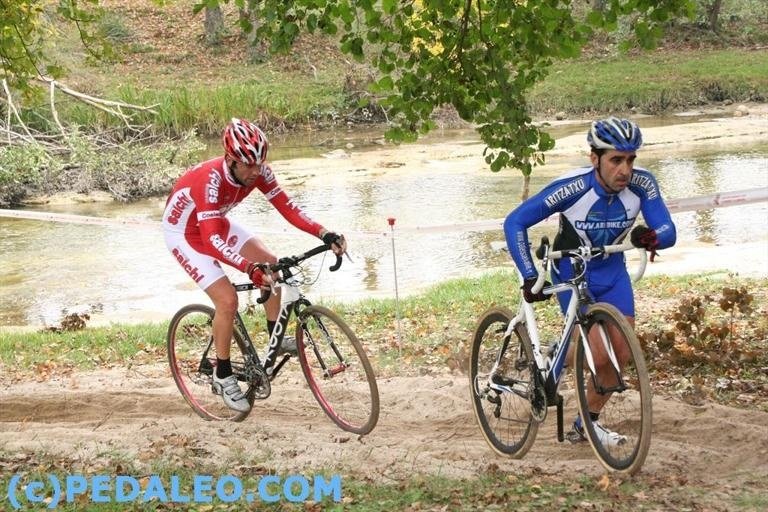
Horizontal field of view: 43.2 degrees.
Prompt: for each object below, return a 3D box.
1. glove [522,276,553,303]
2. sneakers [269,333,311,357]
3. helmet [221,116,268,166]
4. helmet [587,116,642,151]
[{"bbox_3d":[1.836,0.417,11.939,0.281,0.160,0.360,12,-39,-31],"label":"glove"},{"bbox_3d":[-1.300,1.211,13.089,0.579,0.219,0.230,2,0,6],"label":"sneakers"},{"bbox_3d":[-1.832,-1.489,12.737,0.539,0.636,0.312,-6,7,-8],"label":"helmet"},{"bbox_3d":[2.806,-1.477,11.904,0.610,0.423,0.377,-4,7,11],"label":"helmet"}]
